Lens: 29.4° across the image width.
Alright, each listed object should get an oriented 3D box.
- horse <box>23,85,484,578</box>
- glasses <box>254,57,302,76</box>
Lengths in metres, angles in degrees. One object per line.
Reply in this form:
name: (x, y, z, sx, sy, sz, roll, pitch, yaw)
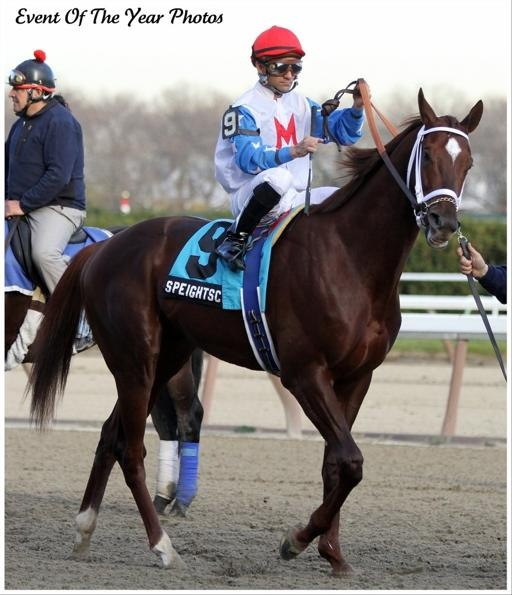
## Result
horse: (-0.016, 0.190, 3.733, 2.205, 1.669, 0.555, -4, -9, 40)
glasses: (0.093, -0.872, 3.732, 0.197, 0.053, 0.193, -1, 5, -27)
